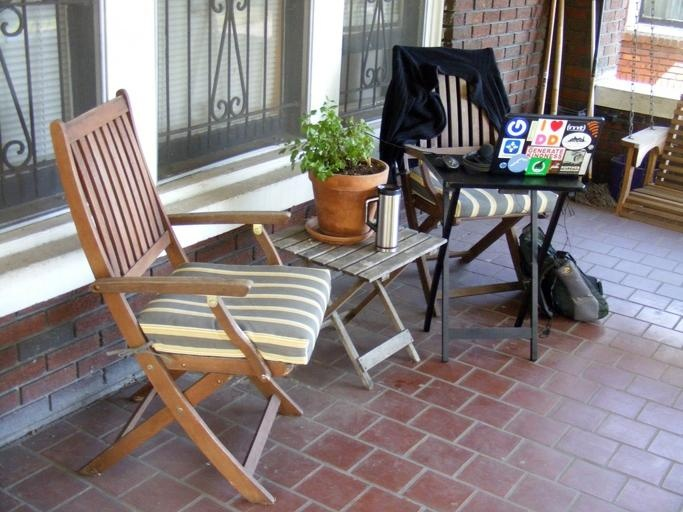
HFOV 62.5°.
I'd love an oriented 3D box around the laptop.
[{"bbox_3d":[0.991,-0.545,2.907,0.559,0.293,0.325,2,35,-4],"label":"laptop"}]
